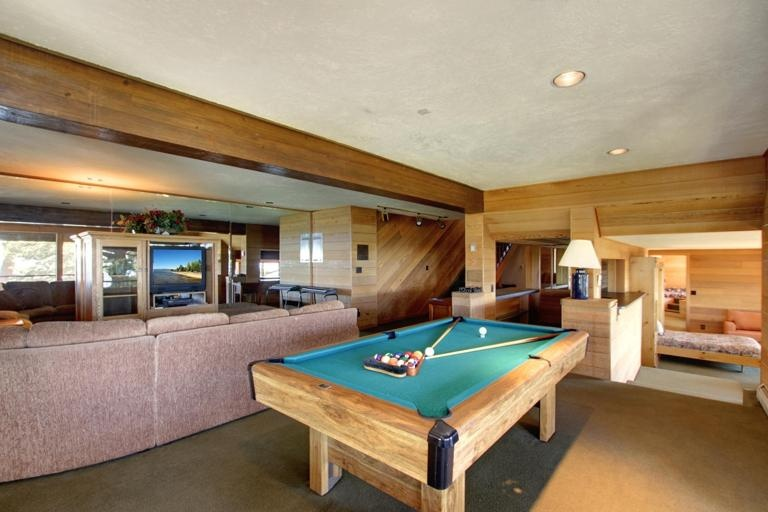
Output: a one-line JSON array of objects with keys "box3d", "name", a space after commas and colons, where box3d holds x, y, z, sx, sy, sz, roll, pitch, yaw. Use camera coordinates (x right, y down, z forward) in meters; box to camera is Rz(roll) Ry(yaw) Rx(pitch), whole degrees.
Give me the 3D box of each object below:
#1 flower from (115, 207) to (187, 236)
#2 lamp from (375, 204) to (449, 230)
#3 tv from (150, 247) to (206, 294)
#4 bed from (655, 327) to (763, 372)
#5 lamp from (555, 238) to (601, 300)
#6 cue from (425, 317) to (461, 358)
[{"box3d": [-3.501, -0.504, 7.246, 0.576, 0.183, 0.535, -2, -2, 32], "name": "flower"}, {"box3d": [0.626, -0.816, 9.890, 1.125, 0.588, 2.323, 5, 12, 17], "name": "lamp"}, {"box3d": [-3.199, 0.207, 7.442, 1.023, 0.721, 0.097, 0, -2, -28], "name": "tv"}, {"box3d": [5.604, 1.528, 8.337, 1.475, 0.403, 0.882, 10, 15, 38], "name": "bed"}, {"box3d": [2.616, 0.169, 6.472, 0.446, 0.838, 0.780, 8, 15, 21], "name": "lamp"}, {"box3d": [0.634, 0.822, 5.106, 0.173, 0.121, 1.146, -26, -7, 30], "name": "cue"}]
